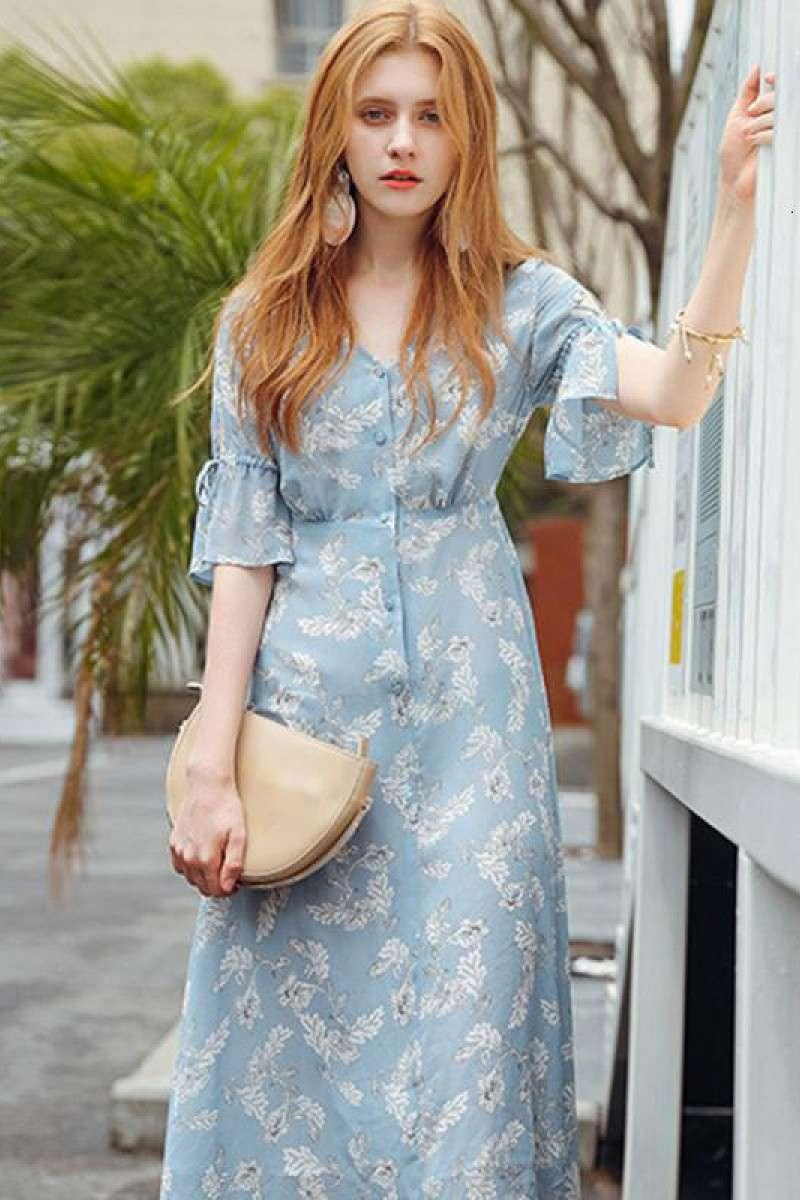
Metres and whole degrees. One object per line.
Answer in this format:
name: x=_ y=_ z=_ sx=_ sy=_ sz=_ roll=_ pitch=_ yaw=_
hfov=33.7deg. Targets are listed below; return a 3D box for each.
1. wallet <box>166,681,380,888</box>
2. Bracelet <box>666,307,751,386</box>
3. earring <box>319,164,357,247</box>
wallet: x=-0.119 y=0.197 z=1.353 sx=0.195 sy=0.193 sz=0.048 roll=27 pitch=3 yaw=29
Bracelet: x=0.298 y=-0.233 z=1.264 sx=0.063 sy=0.064 sz=0.060 roll=8 pitch=53 yaw=14
earring: x=-0.070 y=-0.457 z=1.560 sx=0.020 sy=0.060 sz=0.080 roll=5 pitch=48 yaw=13
